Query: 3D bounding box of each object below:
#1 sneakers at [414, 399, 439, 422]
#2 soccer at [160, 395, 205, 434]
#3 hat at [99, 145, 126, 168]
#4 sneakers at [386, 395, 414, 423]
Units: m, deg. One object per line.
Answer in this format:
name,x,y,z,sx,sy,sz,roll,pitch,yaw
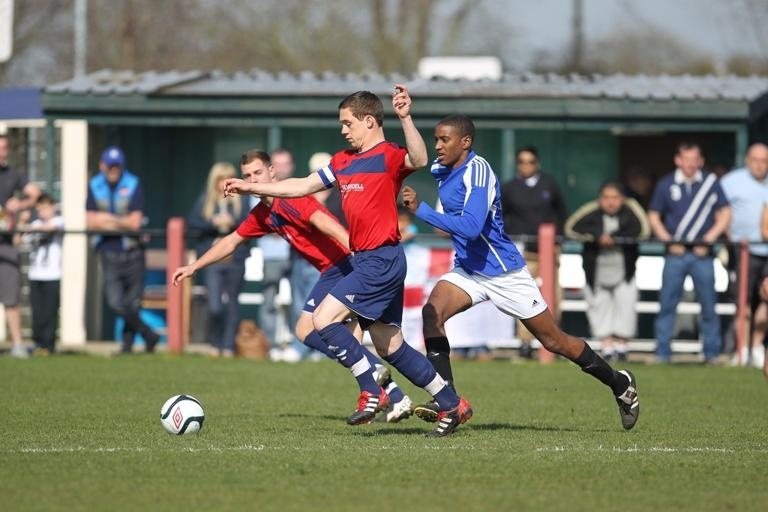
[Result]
sneakers,0.445,1.607,17.791,0.291,0.148,0.142,24,34,-22
soccer,-2.149,1.637,17.906,0.409,0.397,0.401,2,2,-14
hat,-3.079,-1.128,19.212,0.202,0.230,0.239,1,9,-17
sneakers,0.195,1.608,18.179,0.409,0.147,0.192,-41,9,16
